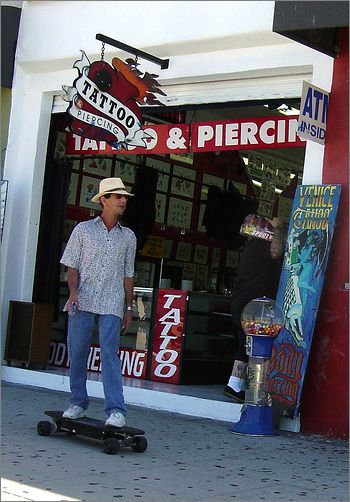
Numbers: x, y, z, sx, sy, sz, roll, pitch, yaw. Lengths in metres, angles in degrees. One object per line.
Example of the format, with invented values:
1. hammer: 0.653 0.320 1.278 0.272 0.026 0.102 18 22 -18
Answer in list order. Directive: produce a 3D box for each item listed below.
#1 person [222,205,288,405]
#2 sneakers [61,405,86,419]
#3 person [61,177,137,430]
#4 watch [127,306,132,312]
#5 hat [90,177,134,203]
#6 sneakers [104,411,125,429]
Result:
1. person: 0.829 0.590 5.030 0.486 1.787 0.782 7 -1 7
2. sneakers: -0.659 1.066 3.157 0.069 0.069 0.179 -4 -16 24
3. person: -0.504 0.303 3.122 0.524 1.635 0.712 7 -1 -13
4. watch: -0.304 0.387 3.202 0.032 0.020 0.032 6 -23 0
5. hat: -0.458 -0.447 3.299 0.195 0.093 0.232 5 -13 -43
6. sneakers: -0.344 0.988 2.774 0.058 0.058 0.147 0 -13 7
